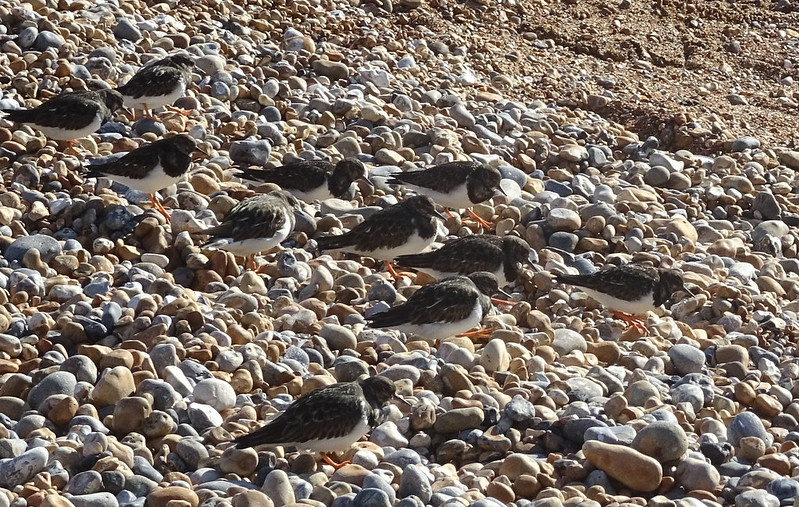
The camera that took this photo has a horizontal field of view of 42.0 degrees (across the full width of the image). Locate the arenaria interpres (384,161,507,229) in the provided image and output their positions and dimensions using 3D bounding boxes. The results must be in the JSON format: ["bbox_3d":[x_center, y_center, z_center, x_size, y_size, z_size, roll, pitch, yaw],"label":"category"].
[{"bbox_3d":[0.643,-0.822,12.164,1.290,0.521,0.523,27,8,-4],"label":"arenaria interpres"}]

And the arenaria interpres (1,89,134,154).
[{"bbox_3d":[-3.834,-1.634,12.089,1.381,0.677,0.551,12,5,-20],"label":"arenaria interpres"}]

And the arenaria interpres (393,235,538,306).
[{"bbox_3d":[0.730,0.052,11.352,1.349,0.487,0.575,8,0,-10],"label":"arenaria interpres"}]

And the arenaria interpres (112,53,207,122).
[{"bbox_3d":[-3.004,-2.079,12.825,0.892,0.745,0.699,11,26,-16],"label":"arenaria interpres"}]

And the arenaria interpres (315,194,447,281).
[{"bbox_3d":[-0.317,-0.279,11.433,1.470,0.789,0.604,0,19,-11],"label":"arenaria interpres"}]

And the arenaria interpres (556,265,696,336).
[{"bbox_3d":[2.450,0.336,11.343,1.436,0.598,0.531,16,14,18],"label":"arenaria interpres"}]

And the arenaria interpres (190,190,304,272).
[{"bbox_3d":[-1.537,-0.302,10.974,1.268,0.723,0.585,1,8,-34],"label":"arenaria interpres"}]

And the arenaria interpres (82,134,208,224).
[{"bbox_3d":[-2.856,-0.982,11.526,0.947,0.809,0.554,17,25,-3],"label":"arenaria interpres"}]

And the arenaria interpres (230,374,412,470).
[{"bbox_3d":[-0.642,1.460,9.127,1.679,0.720,0.540,4,16,-20],"label":"arenaria interpres"}]
